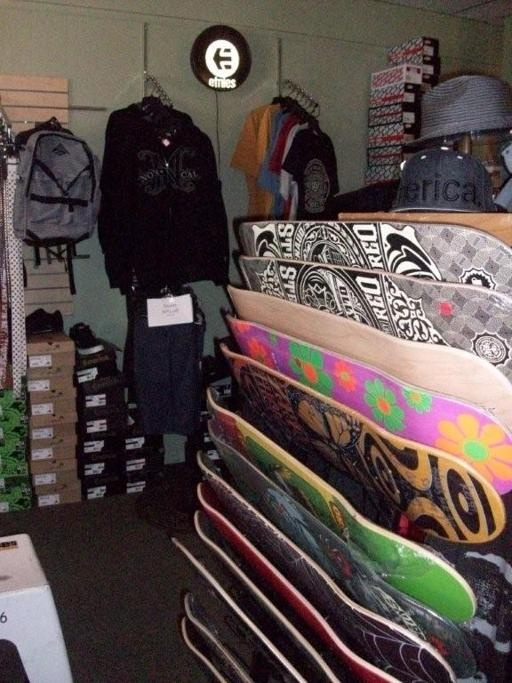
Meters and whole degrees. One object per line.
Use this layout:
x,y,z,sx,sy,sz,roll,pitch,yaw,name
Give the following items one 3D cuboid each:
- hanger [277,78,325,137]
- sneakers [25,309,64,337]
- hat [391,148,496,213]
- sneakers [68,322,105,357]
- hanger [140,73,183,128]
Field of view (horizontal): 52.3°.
0.289,-1.629,3.598,0.193,0.225,0.638,-20,50,-14,hanger
-1.247,-0.111,3.081,0.188,0.151,0.067,-7,-30,-30,sneakers
0.225,-0.201,0.650,0.124,0.079,0.139,5,17,27,hat
-0.995,-0.017,3.090,0.187,0.131,0.328,-8,17,-18,sneakers
-0.574,-1.474,3.148,0.209,0.338,0.404,-5,15,-8,hanger
